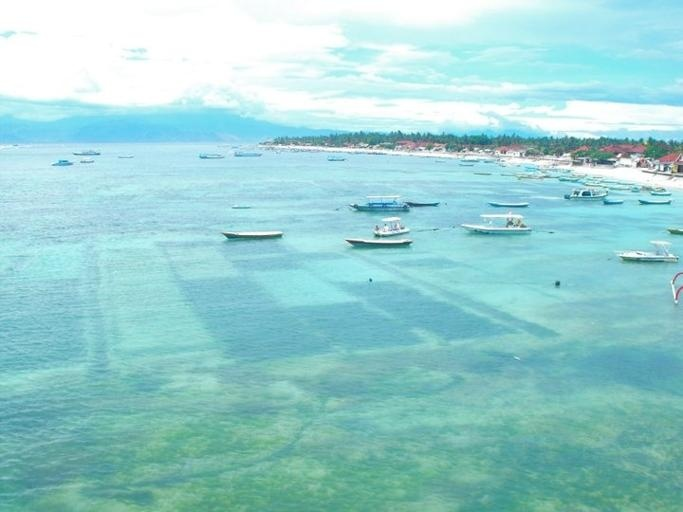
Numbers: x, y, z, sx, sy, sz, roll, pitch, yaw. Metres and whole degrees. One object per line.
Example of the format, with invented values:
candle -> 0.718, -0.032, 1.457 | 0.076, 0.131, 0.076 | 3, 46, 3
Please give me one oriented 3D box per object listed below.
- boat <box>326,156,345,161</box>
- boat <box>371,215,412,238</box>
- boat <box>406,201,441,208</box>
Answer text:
boat -> -3.891, -64.387, 372.061 | 18.054, 2.586, 13.882 | -1, 7, -5
boat -> 8.374, -4.842, 97.605 | 4.124, 1.852, 7.200 | 4, 6, 34
boat -> 19.355, -12.210, 132.800 | 6.055, 1.176, 9.085 | 5, 12, 33
